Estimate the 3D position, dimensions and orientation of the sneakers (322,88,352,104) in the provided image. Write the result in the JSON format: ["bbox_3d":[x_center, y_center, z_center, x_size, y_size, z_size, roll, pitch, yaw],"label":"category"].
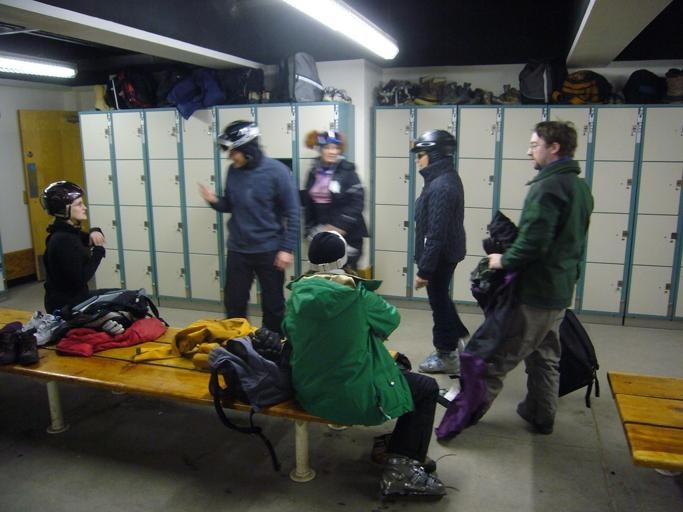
[{"bbox_3d":[-0.072,-1.784,5.824,0.344,0.140,0.206,-2,8,-24],"label":"sneakers"}]

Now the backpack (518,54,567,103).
[{"bbox_3d":[2.125,-1.856,5.600,0.577,0.482,0.399,-8,21,-6],"label":"backpack"}]

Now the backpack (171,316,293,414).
[{"bbox_3d":[-0.664,0.649,3.268,0.503,0.242,0.644,-1,4,-44],"label":"backpack"}]

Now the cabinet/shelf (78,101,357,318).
[{"bbox_3d":[-1.192,-0.547,5.203,2.986,1.815,0.801,1,9,10],"label":"cabinet/shelf"}]

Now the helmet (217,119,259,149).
[{"bbox_3d":[-0.818,-0.959,4.196,0.311,0.145,0.206,-23,35,-14],"label":"helmet"}]

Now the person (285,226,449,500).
[{"bbox_3d":[0.140,0.687,3.093,0.958,1.527,0.521,-1,14,-6],"label":"person"}]

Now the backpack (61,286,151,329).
[{"bbox_3d":[-1.705,0.378,3.806,0.461,0.135,0.337,-2,7,-21],"label":"backpack"}]

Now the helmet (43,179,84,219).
[{"bbox_3d":[-2.182,-0.459,4.062,0.345,0.290,0.258,-14,30,-34],"label":"helmet"}]

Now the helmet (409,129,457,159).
[{"bbox_3d":[0.765,-0.928,4.351,0.334,0.166,0.214,9,20,8],"label":"helmet"}]

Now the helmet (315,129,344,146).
[{"bbox_3d":[-0.109,-1.071,4.741,0.148,0.088,0.186,-2,8,-19],"label":"helmet"}]

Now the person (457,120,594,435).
[{"bbox_3d":[1.298,0.325,3.569,0.710,1.933,0.326,2,14,5],"label":"person"}]

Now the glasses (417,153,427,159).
[{"bbox_3d":[0.658,-0.823,4.333,0.057,0.025,0.041,0,7,-13],"label":"glasses"}]
